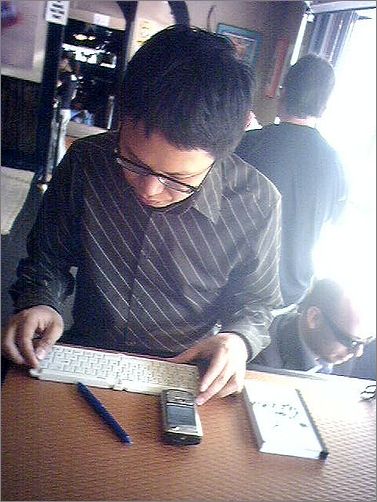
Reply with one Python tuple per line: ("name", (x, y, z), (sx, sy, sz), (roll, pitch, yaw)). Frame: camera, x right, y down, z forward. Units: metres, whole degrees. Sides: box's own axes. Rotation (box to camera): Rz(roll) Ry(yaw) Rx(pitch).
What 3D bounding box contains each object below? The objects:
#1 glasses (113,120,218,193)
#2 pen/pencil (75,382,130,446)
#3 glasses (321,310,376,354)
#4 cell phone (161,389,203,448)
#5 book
("glasses", (-0.037, -0.143, 0.673), (0.111, 0.075, 0.138), (30, 13, -7))
("pen/pencil", (-0.128, 0.242, 0.625), (0.013, 0.013, 0.123), (-36, 44, -19))
("glasses", (0.331, 0.176, 0.906), (0.095, 0.039, 0.075), (37, -11, -14))
("cell phone", (-0.016, 0.249, 0.651), (0.057, 0.028, 0.098), (12, 23, -11))
("book", (0.152, 0.278, 0.711), (0.111, 0.028, 0.147), (12, 19, -10))
